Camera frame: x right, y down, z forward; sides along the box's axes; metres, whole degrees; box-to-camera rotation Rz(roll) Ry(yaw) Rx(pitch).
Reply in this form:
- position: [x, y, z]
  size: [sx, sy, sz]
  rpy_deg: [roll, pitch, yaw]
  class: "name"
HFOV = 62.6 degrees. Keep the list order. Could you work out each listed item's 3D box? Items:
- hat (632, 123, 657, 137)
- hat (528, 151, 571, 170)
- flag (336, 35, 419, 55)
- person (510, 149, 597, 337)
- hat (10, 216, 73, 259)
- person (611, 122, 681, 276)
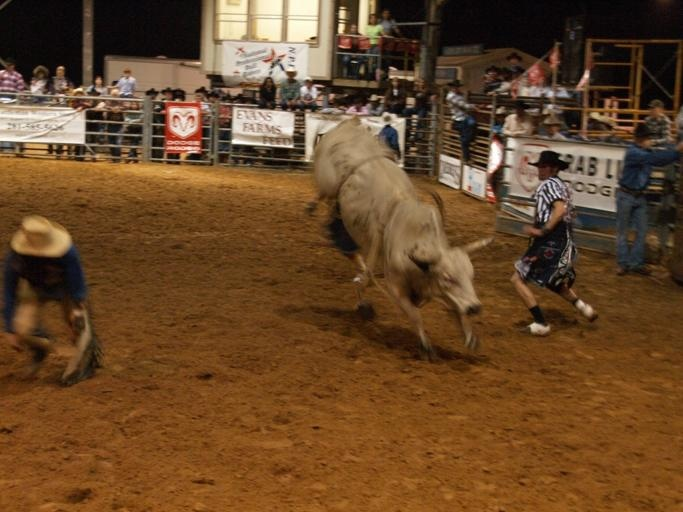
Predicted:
- position: [5.067, -2.067, 9.363]
  size: [0.277, 0.257, 0.710]
  rpy_deg: [9, 11, 24]
  class: "hat"
- position: [2.523, -1.143, 6.686]
  size: [0.341, 0.212, 0.391]
  rpy_deg: [6, 11, 16]
  class: "hat"
- position: [1.239, -7.339, 19.269]
  size: [2.512, 0.653, 0.906]
  rpy_deg: [5, 11, 18]
  class: "flag"
- position: [2.587, -0.128, 6.823]
  size: [1.030, 2.249, 0.413]
  rpy_deg: [3, 15, -9]
  class: "person"
- position: [-2.571, -0.160, 4.827]
  size: [0.460, 0.385, 0.323]
  rpy_deg: [-1, 13, -20]
  class: "hat"
- position: [4.989, -0.905, 9.340]
  size: [0.832, 2.435, 0.563]
  rpy_deg: [6, 15, 2]
  class: "person"
